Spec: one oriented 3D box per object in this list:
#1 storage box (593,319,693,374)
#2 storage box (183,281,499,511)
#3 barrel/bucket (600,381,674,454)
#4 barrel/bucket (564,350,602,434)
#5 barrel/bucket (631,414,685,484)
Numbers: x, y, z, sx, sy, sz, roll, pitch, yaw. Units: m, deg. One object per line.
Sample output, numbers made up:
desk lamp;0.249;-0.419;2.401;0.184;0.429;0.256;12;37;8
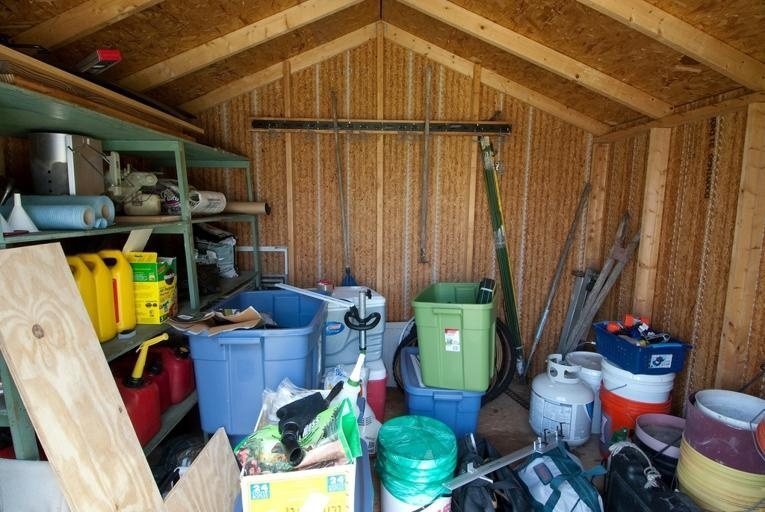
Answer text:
storage box;1.755;0.596;3.856;0.334;0.194;0.483;-1;11;-11
storage box;-0.135;0.759;4.201;1.818;0.999;1.095;1;5;3
barrel/bucket;1.687;1.112;3.811;0.475;0.403;0.493;1;10;0
barrel/bucket;1.509;1.051;4.196;0.278;0.586;0.485;4;7;19
barrel/bucket;1.765;1.202;3.549;0.396;0.368;0.366;-2;10;0
